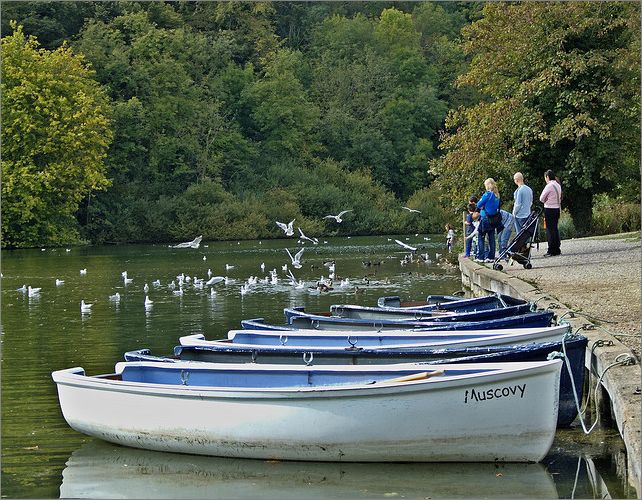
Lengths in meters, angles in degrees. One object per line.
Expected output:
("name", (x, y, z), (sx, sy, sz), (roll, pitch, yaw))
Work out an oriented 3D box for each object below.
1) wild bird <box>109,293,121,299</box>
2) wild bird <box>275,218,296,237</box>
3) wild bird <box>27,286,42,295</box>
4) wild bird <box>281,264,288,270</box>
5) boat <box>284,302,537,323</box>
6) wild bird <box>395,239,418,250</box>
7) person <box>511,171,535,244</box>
("wild bird", (-10.139, 2.222, 76.891), (0.404, 0.283, 0.282), (1, -1, -16))
("wild bird", (-2.463, -1.679, 108.732), (1.504, 1.065, 1.157), (-6, 14, 15))
("wild bird", (-14.515, 1.987, 78.226), (0.477, 0.158, 0.481), (0, 2, 33))
("wild bird", (-1.983, 0.938, 87.043), (0.306, 0.306, 0.141), (4, -12, 22))
("boat", (3.999, 2.481, 65.647), (7.084, 0.990, 5.622), (-1, -4, 32))
("wild bird", (5.400, -0.364, 97.938), (2.019, 0.303, 0.401), (28, -7, 46))
("person", (9.195, -2.195, 71.289), (0.883, 2.794, 0.706), (2, 3, 26))
